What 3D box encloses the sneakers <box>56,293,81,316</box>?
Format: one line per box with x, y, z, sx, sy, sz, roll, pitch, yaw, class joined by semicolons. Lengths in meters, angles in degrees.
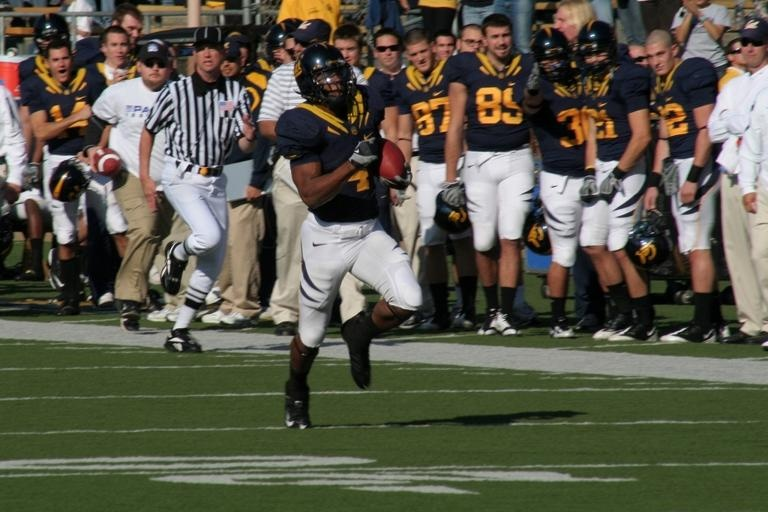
-3.212;0.492;16.496;0.214;0.190;0.238;-3;4;-12;sneakers

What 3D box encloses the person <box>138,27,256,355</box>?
-1.662;-0.599;14.370;1.068;2.859;0.650;-2;4;1;person

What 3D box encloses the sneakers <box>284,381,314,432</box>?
-0.644;1.103;11.838;0.161;0.160;0.410;0;18;-14;sneakers

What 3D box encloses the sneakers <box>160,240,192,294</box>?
-1.900;0.094;14.404;0.271;0.478;0.213;10;8;44;sneakers

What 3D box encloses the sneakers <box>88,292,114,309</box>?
-2.953;0.461;16.974;0.201;0.169;0.218;-13;-25;11;sneakers

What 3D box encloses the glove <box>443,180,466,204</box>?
0.633;-0.581;14.874;0.198;0.181;0.231;2;-11;-22;glove

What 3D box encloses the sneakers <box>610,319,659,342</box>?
2.279;0.686;14.750;0.522;0.152;0.166;1;-1;2;sneakers

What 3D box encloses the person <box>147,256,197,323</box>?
-2.005;0.318;15.338;0.262;0.628;0.313;19;-20;-24;person

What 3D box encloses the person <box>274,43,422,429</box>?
-0.290;-0.151;11.781;0.994;2.799;0.585;-2;4;-4;person

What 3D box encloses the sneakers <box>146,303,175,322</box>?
-2.183;0.579;16.189;0.379;0.131;0.131;1;1;15;sneakers

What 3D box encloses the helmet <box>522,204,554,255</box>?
1.438;-0.262;15.538;0.390;0.407;0.387;0;44;-3;helmet

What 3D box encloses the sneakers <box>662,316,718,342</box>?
2.747;0.677;14.550;0.597;0.176;0.175;0;-5;3;sneakers

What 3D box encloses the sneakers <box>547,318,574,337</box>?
1.617;0.675;14.974;0.118;0.110;0.269;1;-2;-27;sneakers

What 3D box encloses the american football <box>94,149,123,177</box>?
-2.591;-0.879;15.166;0.256;0.229;0.271;14;15;26;american football

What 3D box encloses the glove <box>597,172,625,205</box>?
1.995;-0.627;14.444;0.198;0.236;0.090;36;17;34;glove

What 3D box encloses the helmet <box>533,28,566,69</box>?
1.432;-1.864;14.429;0.302;0.256;0.330;-8;38;-7;helmet

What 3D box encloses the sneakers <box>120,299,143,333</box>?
-2.389;0.565;15.227;0.146;0.150;0.354;8;-32;-27;sneakers

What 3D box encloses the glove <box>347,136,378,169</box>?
-0.156;-0.747;11.606;0.202;0.209;0.303;-2;4;-1;glove

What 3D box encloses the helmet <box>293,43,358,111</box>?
-0.463;-1.336;11.813;0.378;0.374;0.486;-16;16;-36;helmet

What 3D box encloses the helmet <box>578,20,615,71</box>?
1.855;-1.863;14.360;0.355;0.445;0.323;-1;4;13;helmet

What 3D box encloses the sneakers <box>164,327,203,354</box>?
-1.779;0.746;14.230;0.381;0.153;0.175;-1;-3;38;sneakers

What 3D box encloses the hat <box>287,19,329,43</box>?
-0.661;-1.983;14.199;0.322;0.135;0.190;-4;31;-9;hat

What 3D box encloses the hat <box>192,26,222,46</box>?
-1.548;-1.945;14.285;0.254;0.179;0.218;-2;4;-5;hat

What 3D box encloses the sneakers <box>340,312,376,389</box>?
-0.141;0.676;11.950;0.308;0.557;0.202;3;23;33;sneakers

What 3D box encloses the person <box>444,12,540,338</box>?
0.993;-0.732;14.939;0.783;2.942;0.417;0;5;29;person

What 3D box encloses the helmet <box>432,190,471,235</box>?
0.606;-0.368;15.041;0.368;0.257;0.399;6;5;0;helmet
